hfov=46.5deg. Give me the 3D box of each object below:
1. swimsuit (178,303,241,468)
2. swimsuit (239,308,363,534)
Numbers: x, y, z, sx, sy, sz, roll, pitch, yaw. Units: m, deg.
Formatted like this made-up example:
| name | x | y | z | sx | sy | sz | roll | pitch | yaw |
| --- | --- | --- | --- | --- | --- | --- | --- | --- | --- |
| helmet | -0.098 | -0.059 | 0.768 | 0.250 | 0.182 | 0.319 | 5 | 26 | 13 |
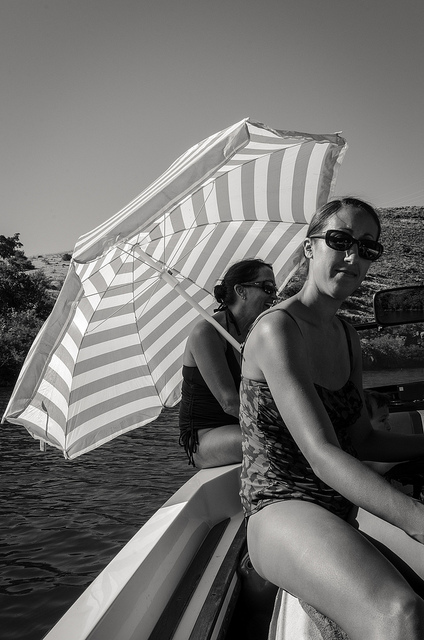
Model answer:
| name | x | y | z | sx | sy | sz | roll | pitch | yaw |
| --- | --- | --- | --- | --- | --- | --- | --- | --- | --- |
| swimsuit | 0.100 | 0.353 | 2.893 | 0.534 | 0.972 | 0.440 | 4 | 1 | 2 |
| swimsuit | 0.252 | 0.249 | 1.304 | 0.443 | 0.557 | 0.240 | -4 | -5 | -35 |
